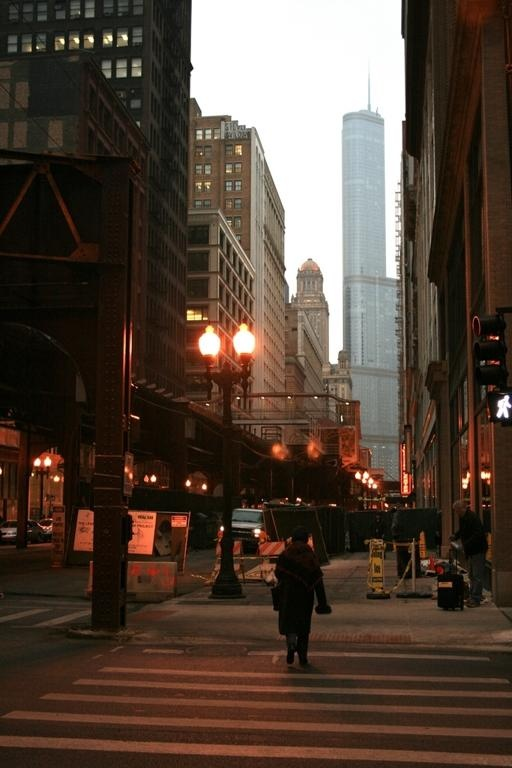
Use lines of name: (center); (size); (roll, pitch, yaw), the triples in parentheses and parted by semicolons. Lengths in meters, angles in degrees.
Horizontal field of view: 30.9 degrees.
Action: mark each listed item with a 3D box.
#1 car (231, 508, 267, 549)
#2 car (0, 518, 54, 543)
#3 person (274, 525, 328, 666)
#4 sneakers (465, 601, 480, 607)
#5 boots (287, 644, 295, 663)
car: (-0.297, 5.351, 34.777); (1.084, 1.246, 2.266); (-1, -18, 5)
car: (-13.080, 8.241, 51.790); (1.990, 1.240, 4.631); (0, -9, 5)
person: (0.482, 2.348, 10.380); (0.625, 1.477, 0.935); (0, -7, 4)
sneakers: (3.728, 3.790, 15.990); (0.265, 0.152, 0.099); (11, -14, -18)
boots: (0.369, 2.943, 9.947); (0.072, 0.298, 0.099); (1, 9, 0)
